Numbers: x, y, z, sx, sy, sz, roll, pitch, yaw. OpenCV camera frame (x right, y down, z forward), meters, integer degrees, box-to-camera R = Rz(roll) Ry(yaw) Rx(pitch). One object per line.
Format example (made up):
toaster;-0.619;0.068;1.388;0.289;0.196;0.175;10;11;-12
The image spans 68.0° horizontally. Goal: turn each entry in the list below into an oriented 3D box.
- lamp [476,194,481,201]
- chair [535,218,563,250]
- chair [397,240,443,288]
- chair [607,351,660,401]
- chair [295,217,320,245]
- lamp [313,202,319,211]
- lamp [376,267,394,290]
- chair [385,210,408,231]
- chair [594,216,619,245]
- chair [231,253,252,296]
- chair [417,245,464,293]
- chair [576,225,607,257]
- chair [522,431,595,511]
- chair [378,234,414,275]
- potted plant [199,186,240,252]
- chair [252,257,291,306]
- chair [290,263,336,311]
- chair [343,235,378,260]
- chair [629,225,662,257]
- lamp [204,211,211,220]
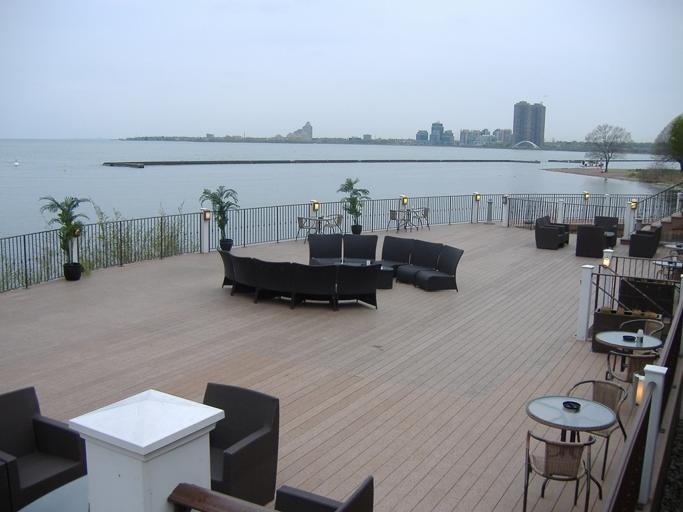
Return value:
lamp;6.339;-2.804;23.592;0.215;0.415;0.418;3;12;29
chair;8.064;-0.908;19.296;0.797;1.218;1.483;3;3;42
chair;2.067;0.218;13.530;0.926;1.160;1.106;10;15;20
chair;4.518;1.806;7.960;0.663;0.801;0.705;7;9;30
chair;-1.279;-1.180;19.808;0.938;1.300;1.258;-3;15;-6
lamp;-0.996;-1.928;19.588;0.146;0.306;0.298;3;6;34
lamp;1.155;0.564;13.139;0.507;0.511;0.495;0;4;-7
chair;2.475;-1.599;22.318;0.888;0.902;1.524;4;8;8
chair;10.016;-0.976;19.181;0.982;1.310;1.260;3;8;36
chair;-2.320;0.434;11.761;0.775;0.911;0.665;-2;8;-25
chair;2.413;0.284;13.168;1.231;1.395;0.992;-4;10;-26
chair;8.694;-0.521;17.718;0.859;1.078;0.546;6;8;25
chair;2.352;2.338;5.474;0.673;0.875;0.618;1;18;17
chair;1.495;0.228;13.983;0.885;1.207;1.129;9;43;-2
potted plant;-4.001;-1.128;16.888;1.381;2.109;1.188;-16;-18;21
chair;-1.488;0.539;11.506;0.874;1.093;0.861;-2;10;-23
chair;-0.629;0.612;11.168;0.977;0.974;0.873;-2;7;-16
chair;0.509;-0.276;13.987;0.720;0.919;0.706;3;-2;10
chair;10.660;-0.890;17.809;0.925;1.222;1.768;4;8;32
lamp;-4.379;-1.336;16.522;0.230;0.355;0.250;0;8;-22
